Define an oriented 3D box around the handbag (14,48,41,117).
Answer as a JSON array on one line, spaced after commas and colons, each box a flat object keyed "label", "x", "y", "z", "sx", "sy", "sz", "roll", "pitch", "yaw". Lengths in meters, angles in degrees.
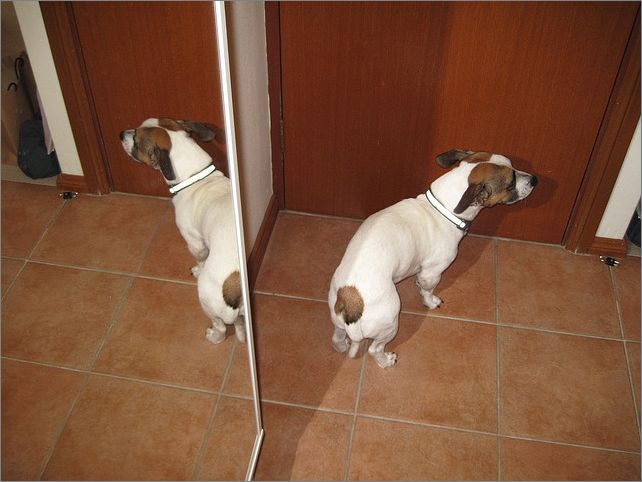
[{"label": "handbag", "x": -0.489, "y": -0.264, "z": 0.817, "sx": 0.020, "sy": 0.100, "sz": 0.047, "roll": -18, "pitch": 10, "yaw": -34}]
